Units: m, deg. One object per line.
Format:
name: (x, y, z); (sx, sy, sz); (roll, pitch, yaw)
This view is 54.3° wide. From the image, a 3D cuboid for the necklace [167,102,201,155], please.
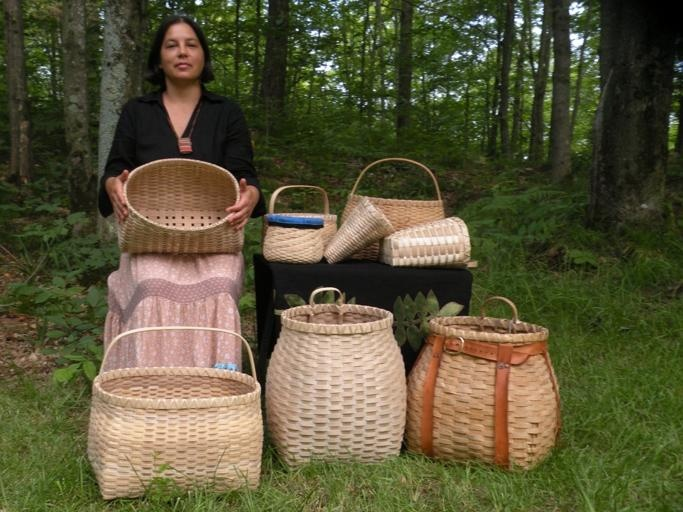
necklace: (-1.069, -0.856, 4.559); (0.125, 0.289, 0.029); (-4, 17, -40)
